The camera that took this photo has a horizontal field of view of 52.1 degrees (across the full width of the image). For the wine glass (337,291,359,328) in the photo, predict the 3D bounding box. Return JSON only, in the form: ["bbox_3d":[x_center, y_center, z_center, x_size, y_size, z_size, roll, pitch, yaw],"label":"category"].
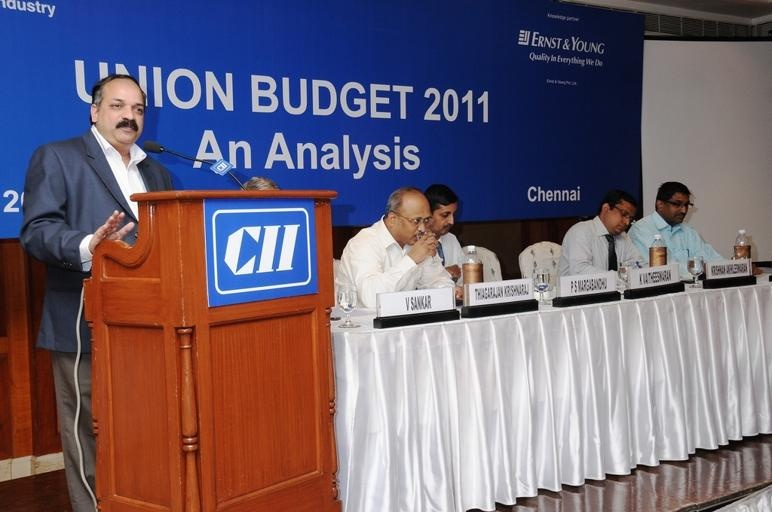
[{"bbox_3d":[-0.206,0.267,4.198,0.101,0.192,0.309,-3,1,-4],"label":"wine glass"}]

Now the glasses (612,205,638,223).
[{"bbox_3d":[1.697,-0.302,5.587,0.123,0.044,0.120,33,10,39],"label":"glasses"}]

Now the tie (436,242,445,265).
[{"bbox_3d":[0.365,-0.018,5.309,0.071,0.142,0.031,-3,-7,-15],"label":"tie"}]

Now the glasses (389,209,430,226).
[{"bbox_3d":[0.127,-0.233,4.708,0.246,0.085,0.112,-3,1,3],"label":"glasses"}]

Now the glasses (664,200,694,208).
[{"bbox_3d":[2.242,-0.403,6.034,0.169,0.043,0.073,-4,1,-16],"label":"glasses"}]

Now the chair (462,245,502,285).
[{"bbox_3d":[0.693,0.059,5.638,0.220,0.300,0.308,-2,1,10],"label":"chair"}]

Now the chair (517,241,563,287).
[{"bbox_3d":[1.138,0.057,5.854,0.340,0.465,0.326,1,-5,-8],"label":"chair"}]

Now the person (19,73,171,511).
[{"bbox_3d":[-1.404,0.166,3.911,0.554,2.289,0.616,-3,1,30],"label":"person"}]
